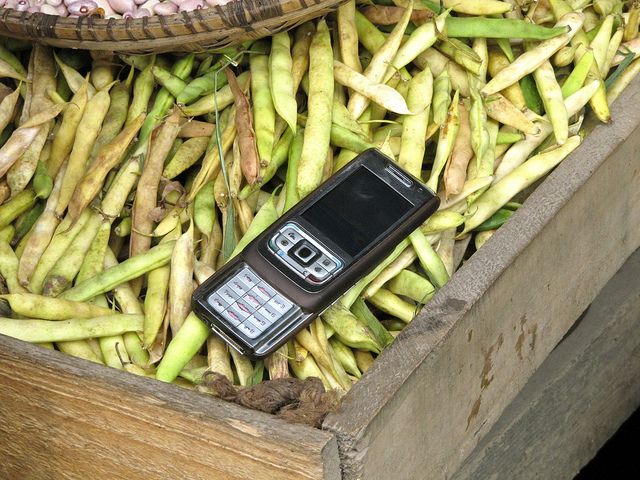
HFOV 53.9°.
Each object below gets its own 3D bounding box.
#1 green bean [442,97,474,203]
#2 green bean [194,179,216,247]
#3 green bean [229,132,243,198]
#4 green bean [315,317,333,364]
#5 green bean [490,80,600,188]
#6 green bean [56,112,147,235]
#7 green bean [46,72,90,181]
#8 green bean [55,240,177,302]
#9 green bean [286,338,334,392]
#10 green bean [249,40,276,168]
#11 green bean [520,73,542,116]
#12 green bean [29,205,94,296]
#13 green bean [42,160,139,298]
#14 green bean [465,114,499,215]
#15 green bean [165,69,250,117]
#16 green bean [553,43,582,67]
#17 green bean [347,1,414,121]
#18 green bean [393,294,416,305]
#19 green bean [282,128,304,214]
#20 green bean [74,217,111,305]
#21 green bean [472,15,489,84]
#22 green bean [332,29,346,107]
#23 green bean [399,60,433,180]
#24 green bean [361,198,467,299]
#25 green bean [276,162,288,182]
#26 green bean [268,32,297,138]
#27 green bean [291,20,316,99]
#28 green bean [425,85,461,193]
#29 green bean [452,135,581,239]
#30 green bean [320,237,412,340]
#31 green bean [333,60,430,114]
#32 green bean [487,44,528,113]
[{"bbox_3d":[0.224,-0.151,1.016,0.034,0.192,0.027,7,-33,13],"label":"green bean"},{"bbox_3d":[-0.182,-0.041,0.982,0.024,0.103,0.019,4,-41,-6],"label":"green bean"},{"bbox_3d":[-0.131,-0.120,0.994,0.017,0.108,0.012,1,-29,2],"label":"green bean"},{"bbox_3d":[0.004,0.132,0.868,0.014,0.076,0.011,-11,-24,-9],"label":"green bean"},{"bbox_3d":[0.377,-0.174,1.055,0.034,0.240,0.032,46,-7,-19],"label":"green bean"},{"bbox_3d":[-0.332,-0.125,1.058,0.049,0.292,0.042,29,-27,1],"label":"green bean"},{"bbox_3d":[-0.433,-0.186,1.121,0.032,0.251,0.027,24,-16,-33],"label":"green bean"},{"bbox_3d":[-0.293,0.045,0.933,0.027,0.179,0.034,52,-13,35],"label":"green bean"},{"bbox_3d":[-0.013,0.168,0.841,0.066,0.016,0.023,55,-31,7],"label":"green bean"},{"bbox_3d":[-0.100,-0.250,1.075,0.036,0.285,0.031,0,-32,-11],"label":"green bean"},{"bbox_3d":[0.377,-0.260,1.119,0.026,0.093,0.028,-4,-21,-6],"label":"green bean"},{"bbox_3d":[-0.399,0.011,1.000,0.039,0.186,0.030,33,-18,-28],"label":"green bean"},{"bbox_3d":[-0.354,-0.010,0.978,0.030,0.234,0.027,21,-24,10],"label":"green bean"},{"bbox_3d":[0.269,-0.130,1.065,0.051,0.203,0.027,25,-28,-14],"label":"green bean"},{"bbox_3d":[-0.194,-0.251,1.090,0.057,0.144,0.036,59,-10,-14],"label":"green bean"},{"bbox_3d":[0.454,-0.332,1.153,0.032,0.049,0.018,55,2,12],"label":"green bean"},{"bbox_3d":[0.109,-0.311,1.117,0.035,0.267,0.028,25,-14,-2],"label":"green bean"},{"bbox_3d":[0.129,0.089,0.951,0.021,0.005,0.006,35,-56,0],"label":"green bean"},{"bbox_3d":[-0.037,-0.111,1.010,0.024,0.139,0.019,3,-26,14],"label":"green bean"},{"bbox_3d":[-0.341,0.030,0.970,0.027,0.136,0.023,20,-31,-9],"label":"green bean"},{"bbox_3d":[0.294,-0.349,1.149,0.018,0.120,0.016,-3,-5,2],"label":"green bean"},{"bbox_3d":[0.024,-0.317,1.162,0.022,0.160,0.023,-3,-21,-14],"label":"green bean"},{"bbox_3d":[0.165,-0.192,1.054,0.038,0.287,0.040,9,-27,-1],"label":"green bean"},{"bbox_3d":[0.132,0.014,0.922,0.020,0.174,0.024,45,-12,-33],"label":"green bean"},{"bbox_3d":[-0.063,-0.115,1.067,0.017,0.031,0.007,17,-2,32],"label":"green bean"},{"bbox_3d":[-0.063,-0.270,1.066,0.034,0.267,0.029,0,-41,-9],"label":"green bean"},{"bbox_3d":[-0.023,-0.332,1.155,0.029,0.186,0.031,-23,-46,32],"label":"green bean"},{"bbox_3d":[0.207,-0.160,1.028,0.036,0.217,0.031,18,-32,-4],"label":"green bean"},{"bbox_3d":[0.309,-0.080,0.992,0.025,0.235,0.033,48,-15,12],"label":"green bean"},{"bbox_3d":[0.062,0.065,0.891,0.027,0.187,0.019,47,-13,-13],"label":"green bean"},{"bbox_3d":[0.103,-0.262,1.087,0.174,0.037,0.021,35,20,23],"label":"green bean"},{"bbox_3d":[0.335,-0.300,1.150,0.038,0.158,0.034,-11,-25,-5],"label":"green bean"}]
